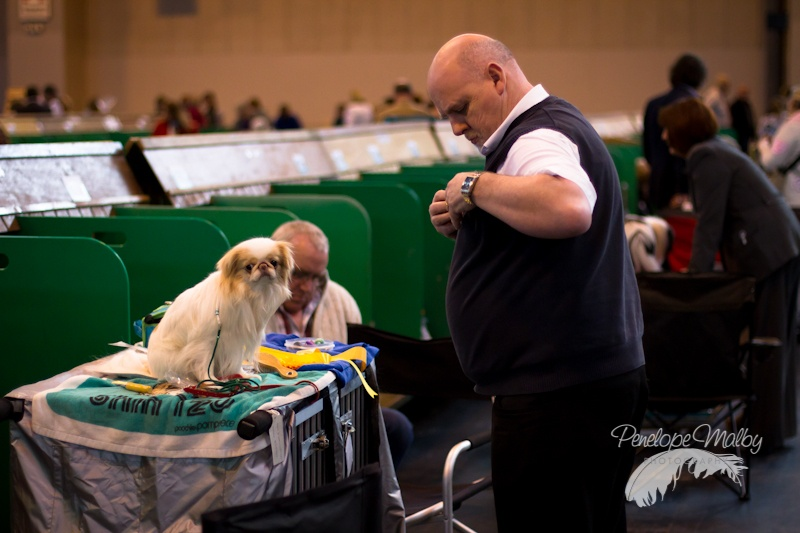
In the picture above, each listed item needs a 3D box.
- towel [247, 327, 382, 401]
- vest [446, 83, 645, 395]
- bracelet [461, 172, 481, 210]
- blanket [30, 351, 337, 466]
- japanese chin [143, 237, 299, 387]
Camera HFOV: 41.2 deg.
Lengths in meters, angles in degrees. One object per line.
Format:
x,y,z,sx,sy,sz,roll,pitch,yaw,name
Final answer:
-0.247,0.418,4.418,0.305,0.087,0.318,-15,21,-17,towel
0.593,-0.101,4.526,0.693,1.323,1.025,1,-2,-2,vest
0.271,-0.304,4.171,0.070,0.123,0.109,-25,30,-24,bracelet
-0.886,0.600,4.222,1.119,0.454,0.285,-10,9,7,blanket
-0.768,0.230,4.379,0.678,0.563,0.442,-13,-11,38,japanese chin
